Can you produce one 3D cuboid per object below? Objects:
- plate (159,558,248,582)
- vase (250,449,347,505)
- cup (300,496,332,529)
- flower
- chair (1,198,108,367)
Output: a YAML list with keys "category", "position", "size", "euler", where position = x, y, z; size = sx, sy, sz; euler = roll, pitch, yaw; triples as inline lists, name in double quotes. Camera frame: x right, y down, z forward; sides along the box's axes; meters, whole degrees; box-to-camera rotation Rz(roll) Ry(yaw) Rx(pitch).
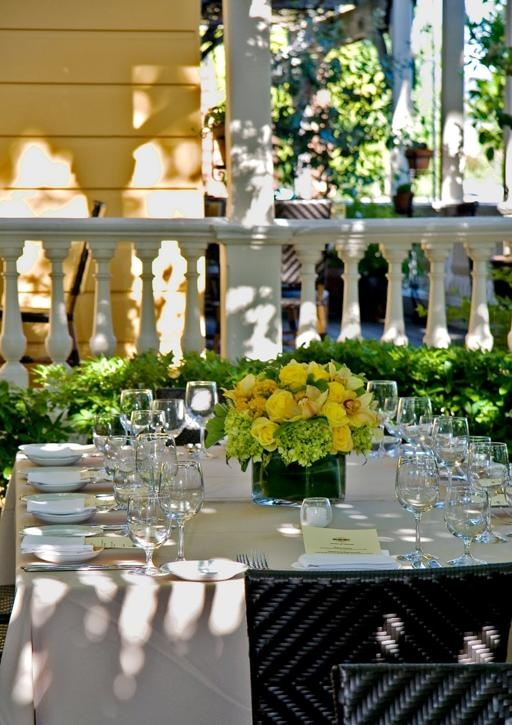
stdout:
- category: "plate"
  position: [-0.080, 0.344, 1.392]
  size: [0.089, 0.017, 0.081]
  euler: [2, -1, -8]
- category: "vase"
  position: [0.105, 0.278, 1.970]
  size: [0.141, 0.160, 0.159]
  euler: [1, -4, -5]
- category: "cup"
  position: [0.118, 0.291, 1.613]
  size: [0.054, 0.055, 0.056]
  euler: [1, 5, 0]
- category: "flower"
  position: [0.148, 0.096, 2.026]
  size: [0.318, 0.164, 0.325]
  euler: [-8, 13, 13]
- category: "chair"
  position: [-1.107, -0.402, 4.525]
  size: [0.557, 0.915, 1.163]
  euler: [-4, 8, -16]
